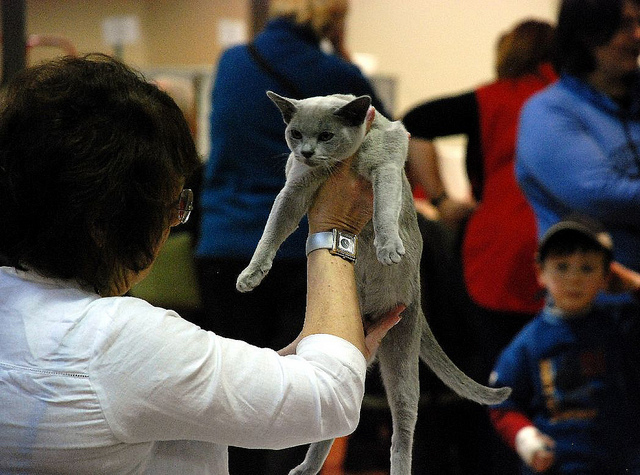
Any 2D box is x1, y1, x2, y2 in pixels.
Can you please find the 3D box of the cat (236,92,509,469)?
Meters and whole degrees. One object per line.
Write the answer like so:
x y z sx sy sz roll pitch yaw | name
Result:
0.155 0.214 2.470 0.321 1.067 0.654 -3 30 28 | cat

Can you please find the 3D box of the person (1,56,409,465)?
-0.219 0.133 2.307 0.711 0.454 0.980 -12 -25 34 | person
